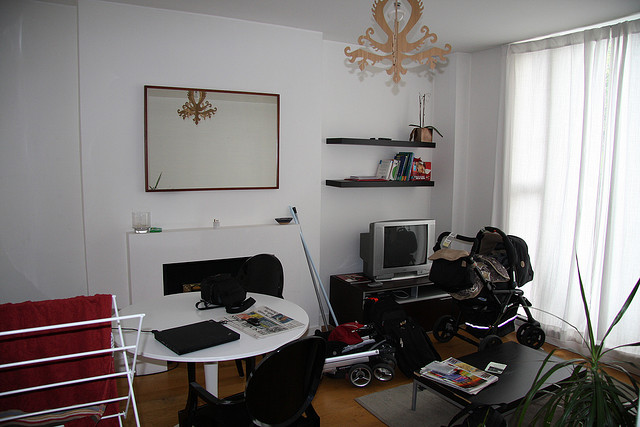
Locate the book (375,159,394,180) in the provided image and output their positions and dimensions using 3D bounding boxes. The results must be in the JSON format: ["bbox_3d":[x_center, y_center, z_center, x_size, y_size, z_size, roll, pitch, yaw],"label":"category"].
[{"bbox_3d":[0.832,-0.576,5.633,0.225,0.226,0.054,11,-6,41],"label":"book"}]

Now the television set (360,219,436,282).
[{"bbox_3d":[1.019,0.450,5.401,0.922,0.754,0.141,-6,10,-23],"label":"television set"}]

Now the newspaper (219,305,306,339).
[{"bbox_3d":[-0.474,0.867,3.466,0.590,0.056,0.406,6,12,42],"label":"newspaper"}]

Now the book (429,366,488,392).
[{"bbox_3d":[1.199,1.421,3.770,0.421,0.064,0.251,6,12,43],"label":"book"}]

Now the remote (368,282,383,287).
[{"bbox_3d":[0.674,0.852,5.184,0.223,0.028,0.094,-8,10,-33],"label":"remote"}]

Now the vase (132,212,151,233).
[{"bbox_3d":[-1.838,0.092,4.447,0.197,0.222,0.193,-1,5,-29],"label":"vase"}]

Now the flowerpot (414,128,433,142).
[{"bbox_3d":[1.387,-1.011,5.839,0.169,0.214,0.301,-1,4,-10],"label":"flowerpot"}]

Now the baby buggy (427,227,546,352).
[{"bbox_3d":[1.718,0.862,4.688,1.019,1.383,0.685,2,10,24],"label":"baby buggy"}]
